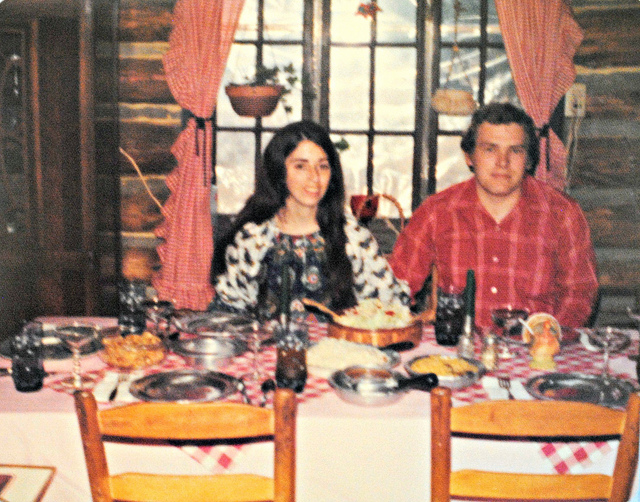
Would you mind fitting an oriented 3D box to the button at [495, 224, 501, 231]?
[{"bbox_3d":[0.961,-0.126,4.013,0.027,0.048,0.026,-2,8,3],"label":"button"}]

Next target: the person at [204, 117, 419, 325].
[{"bbox_3d":[-0.041,-0.179,3.826,1.199,1.069,0.576,0,3,-18],"label":"person"}]

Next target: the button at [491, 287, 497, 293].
[{"bbox_3d":[0.930,0.206,3.973,0.025,0.027,0.006,-3,-9,5],"label":"button"}]

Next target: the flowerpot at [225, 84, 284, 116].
[{"bbox_3d":[-0.402,-0.936,4.609,0.412,0.184,0.421,11,18,40],"label":"flowerpot"}]

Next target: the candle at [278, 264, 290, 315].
[{"bbox_3d":[-0.123,0.133,2.584,0.036,0.172,0.073,-2,10,-3],"label":"candle"}]

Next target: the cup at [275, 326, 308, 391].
[{"bbox_3d":[-0.113,0.370,2.614,0.143,0.245,0.141,-2,-11,0],"label":"cup"}]

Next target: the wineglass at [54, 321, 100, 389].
[{"bbox_3d":[-0.848,0.366,2.623,0.199,0.230,0.194,2,2,-6],"label":"wineglass"}]

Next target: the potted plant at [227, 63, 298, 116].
[{"bbox_3d":[-0.402,-0.945,4.613,0.336,0.251,0.372,-3,1,7],"label":"potted plant"}]

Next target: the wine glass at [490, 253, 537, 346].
[{"bbox_3d":[1.031,0.337,4.036,0.232,0.374,0.246,5,-2,-32],"label":"wine glass"}]

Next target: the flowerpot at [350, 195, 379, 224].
[{"bbox_3d":[0.262,-0.244,4.433,0.163,0.192,0.228,-1,9,2],"label":"flowerpot"}]

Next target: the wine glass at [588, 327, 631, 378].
[{"bbox_3d":[1.061,0.396,2.746,0.129,0.153,0.141,-2,8,14],"label":"wine glass"}]

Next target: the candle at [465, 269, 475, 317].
[{"bbox_3d":[0.579,0.164,2.858,0.039,0.195,0.041,8,19,33],"label":"candle"}]

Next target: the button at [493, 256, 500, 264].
[{"bbox_3d":[0.950,0.049,4.009,0.034,0.032,0.008,-2,-7,-2],"label":"button"}]
